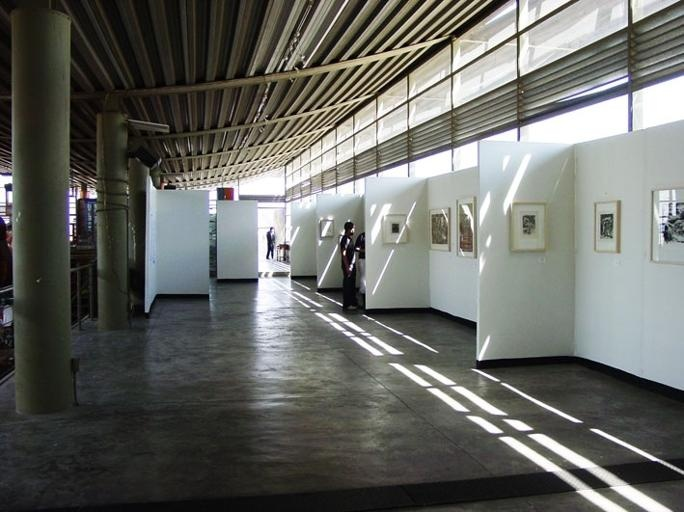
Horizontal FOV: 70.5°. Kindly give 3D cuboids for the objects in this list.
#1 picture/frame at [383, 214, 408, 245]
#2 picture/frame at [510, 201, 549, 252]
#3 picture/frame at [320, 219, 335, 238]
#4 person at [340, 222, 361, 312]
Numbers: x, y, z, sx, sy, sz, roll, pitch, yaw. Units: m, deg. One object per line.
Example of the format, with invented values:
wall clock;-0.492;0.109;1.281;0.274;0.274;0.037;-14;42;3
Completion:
picture/frame;1.096;-0.563;10.066;0.559;0.637;0.064;0;-1;-19
picture/frame;2.479;-0.392;6.461;0.595;0.937;0.092;0;-2;-11
picture/frame;-0.414;-0.819;13.593;0.435;0.605;0.059;0;5;-14
person;0.158;0.203;11.001;0.377;1.978;0.651;0;6;0
